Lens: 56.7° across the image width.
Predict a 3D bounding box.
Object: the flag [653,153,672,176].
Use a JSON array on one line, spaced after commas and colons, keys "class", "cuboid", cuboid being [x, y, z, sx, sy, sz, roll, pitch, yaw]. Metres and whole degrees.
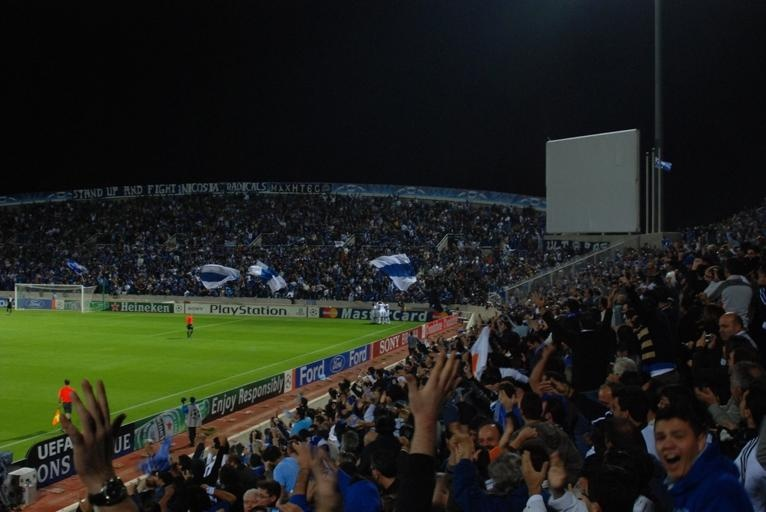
[{"class": "flag", "cuboid": [14.103, -4.672, 36.028, 0.554, 0.843, 1.099, -4, -3, 7]}]
